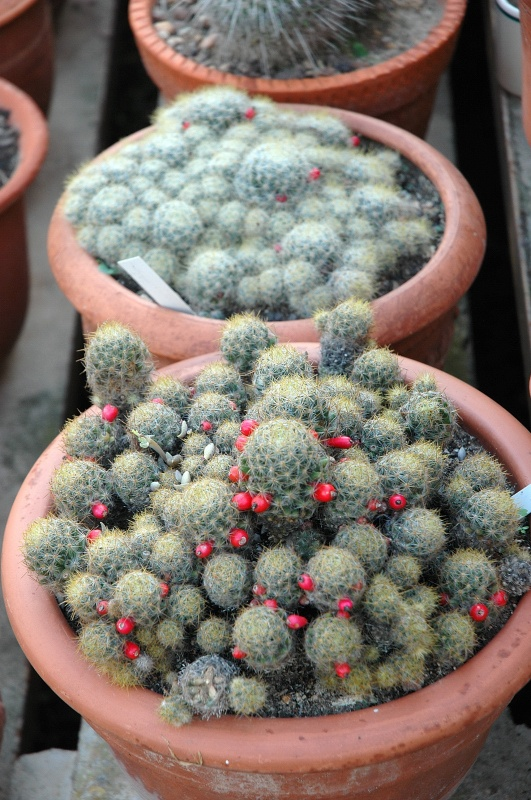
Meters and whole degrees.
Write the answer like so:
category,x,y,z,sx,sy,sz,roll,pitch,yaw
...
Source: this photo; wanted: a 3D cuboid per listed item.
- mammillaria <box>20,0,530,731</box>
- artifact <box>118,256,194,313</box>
category,x,y,z,sx,sy,sz,roll,pitch,yaw
mammillaria,-0.041,-0.026,1.128,0.624,0.348,0.717,-6,42,-1
artifact,-0.241,-0.246,1.749,0.067,0.289,0.019,-36,67,8
